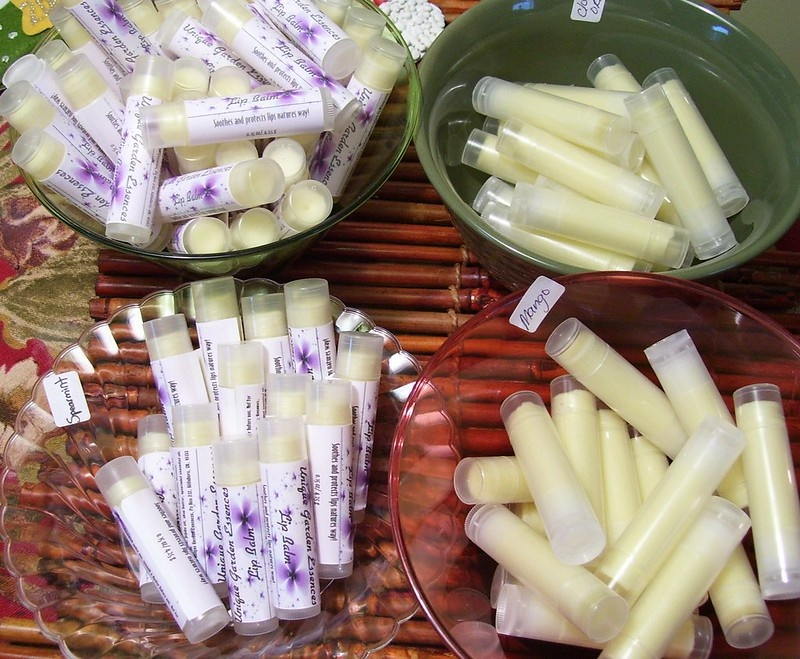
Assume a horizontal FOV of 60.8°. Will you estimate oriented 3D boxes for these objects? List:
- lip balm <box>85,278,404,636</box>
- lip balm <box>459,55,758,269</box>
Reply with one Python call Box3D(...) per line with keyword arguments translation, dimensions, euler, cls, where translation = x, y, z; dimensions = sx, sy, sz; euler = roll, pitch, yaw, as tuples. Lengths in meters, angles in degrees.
Box3D(translation=(-0.139, 0.107, 0.673), dimensions=(0.316, 0.127, 0.314), euler=(-7, 85, 0), cls="lip balm")
Box3D(translation=(0.201, -0.156, 0.669), dimensions=(0.282, 0.079, 0.199), euler=(7, 80, 4), cls="lip balm")
